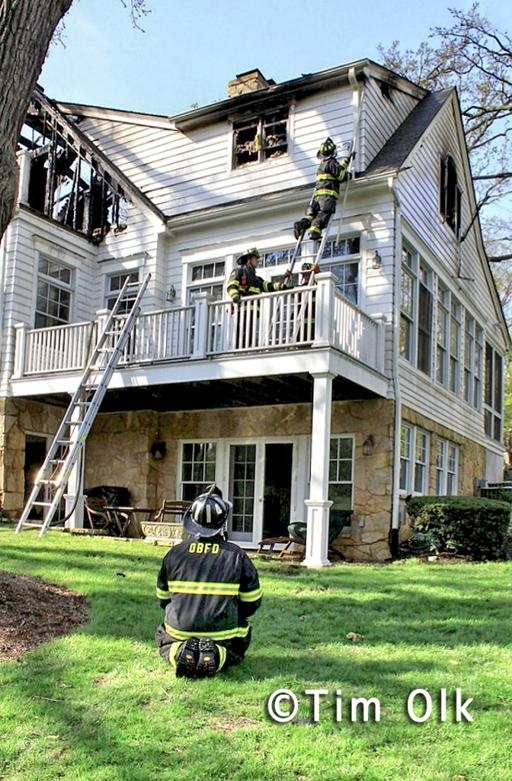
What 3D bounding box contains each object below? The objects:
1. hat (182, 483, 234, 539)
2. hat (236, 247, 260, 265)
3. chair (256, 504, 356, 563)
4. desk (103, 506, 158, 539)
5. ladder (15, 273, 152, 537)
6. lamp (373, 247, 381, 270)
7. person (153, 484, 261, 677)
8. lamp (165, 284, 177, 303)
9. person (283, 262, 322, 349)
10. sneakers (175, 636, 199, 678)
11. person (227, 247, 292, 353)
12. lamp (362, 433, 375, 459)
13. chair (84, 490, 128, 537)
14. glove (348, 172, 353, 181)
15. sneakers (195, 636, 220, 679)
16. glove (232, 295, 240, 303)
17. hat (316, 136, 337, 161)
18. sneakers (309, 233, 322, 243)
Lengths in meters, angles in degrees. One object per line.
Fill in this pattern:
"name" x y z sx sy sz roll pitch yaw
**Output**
"hat" -0.320 0.780 6.890 0.282 0.193 0.456 5 28 11
"hat" -0.121 -1.833 14.169 0.298 0.118 0.258 -23 1 22
"chair" 0.708 1.963 13.975 1.004 0.641 0.817 5 -12 -15
"desk" -1.978 2.025 15.912 0.704 0.445 0.721 -3 -8 22
"ladder" -2.706 0.388 15.987 0.563 4.528 0.365 -1 -25 39
"lamp" 1.742 -1.895 14.810 0.107 0.286 0.209 2 0 -26
"person" -0.308 1.274 6.839 0.687 1.232 0.519 2 0 -5
"lamp" -1.460 -1.670 17.746 0.098 0.329 0.267 2 0 -30
"person" 0.616 -1.082 13.281 0.657 1.137 0.335 5 8 32
"sneakers" -0.446 1.717 6.650 0.112 0.283 0.128 5 -2 2
"person" -0.005 -1.133 13.875 0.737 1.602 0.375 7 -22 -8
"lamp" 1.567 0.762 14.263 0.166 0.273 0.197 2 0 5
"chair" -2.364 2.065 16.125 0.552 0.705 0.488 15 11 -38
"glove" 1.392 -3.162 15.151 0.056 0.066 0.250 23 26 -2
"sneakers" -0.320 1.724 6.646 0.106 0.301 0.135 1 -2 -1
"glove" -0.250 -1.216 13.580 0.122 0.123 0.069 0 -8 23
"hat" 1.017 -3.554 15.066 0.242 0.291 0.387 1 15 17
"sneakers" 0.853 -2.194 14.663 0.165 0.142 0.368 2 0 3
